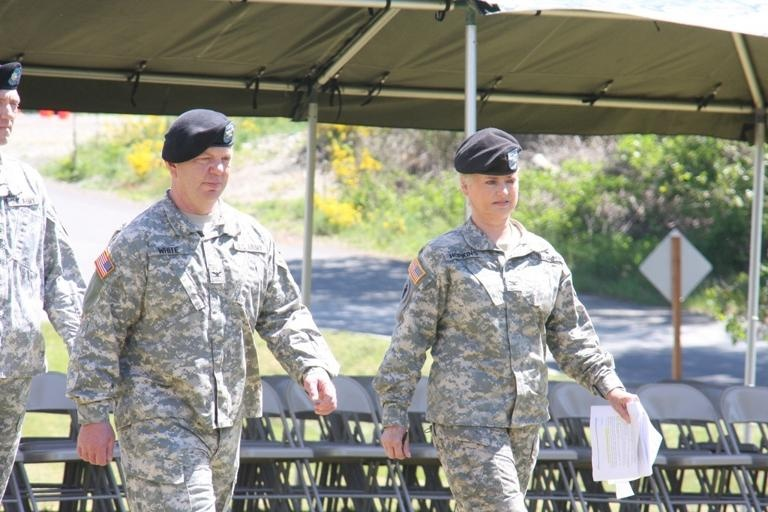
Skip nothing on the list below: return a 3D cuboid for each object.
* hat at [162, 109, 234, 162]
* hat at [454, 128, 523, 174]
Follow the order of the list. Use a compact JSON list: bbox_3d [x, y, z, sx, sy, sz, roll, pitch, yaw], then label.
[{"bbox_3d":[-1.816,-1.173,20.416,0.716,0.411,0.662,2,12,39],"label":"hat"},{"bbox_3d":[1.003,-1.039,20.635,0.521,0.282,0.487,3,6,38],"label":"hat"}]
